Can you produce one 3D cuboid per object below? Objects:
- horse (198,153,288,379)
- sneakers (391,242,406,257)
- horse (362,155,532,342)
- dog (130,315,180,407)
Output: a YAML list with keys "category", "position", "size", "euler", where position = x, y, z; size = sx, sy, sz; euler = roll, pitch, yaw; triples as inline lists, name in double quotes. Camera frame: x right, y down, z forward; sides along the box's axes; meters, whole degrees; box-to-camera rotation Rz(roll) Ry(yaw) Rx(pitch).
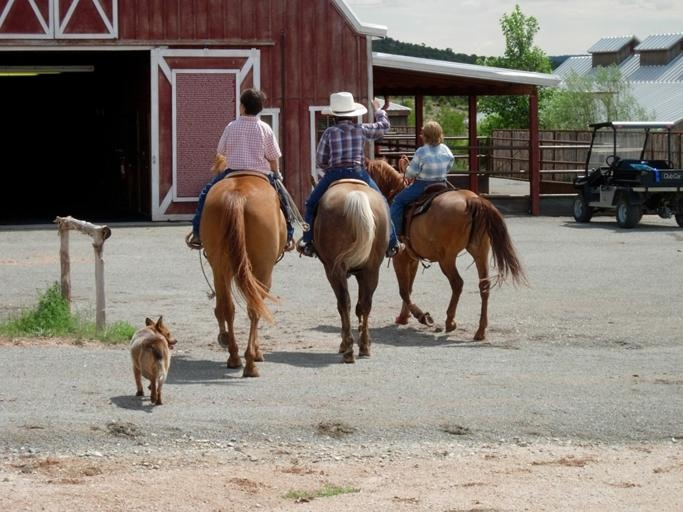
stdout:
- category: "horse"
  position: [-1.539, 0.292, 21.773]
  size: [1.100, 2.746, 1.435]
  euler: [2, 13, 10]
- category: "sneakers"
  position: [0.925, -0.112, 23.682]
  size: [0.117, 0.182, 0.408]
  euler: [-3, 20, 18]
- category: "horse"
  position: [1.552, 0.005, 24.589]
  size: [0.967, 2.941, 4.061]
  euler: [-4, 4, -38]
- category: "dog"
  position: [-2.742, 1.489, 20.429]
  size: [0.575, 1.200, 0.481]
  euler: [2, 13, 9]
